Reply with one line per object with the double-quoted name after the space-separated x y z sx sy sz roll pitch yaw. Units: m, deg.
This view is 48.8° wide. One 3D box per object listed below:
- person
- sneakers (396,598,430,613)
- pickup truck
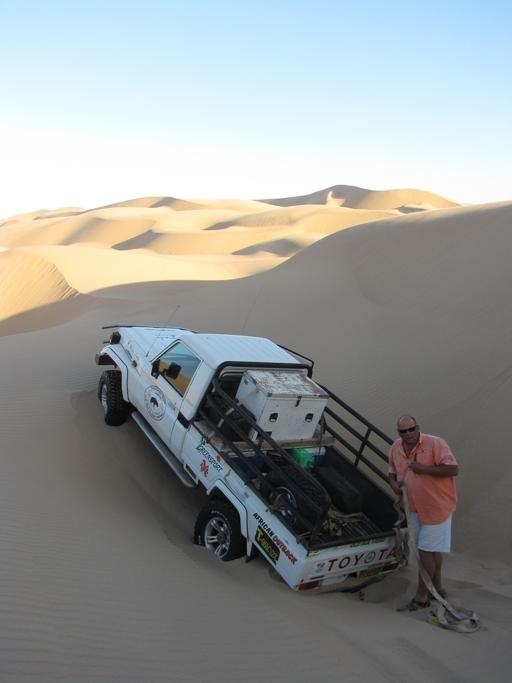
1.416 1.406 4.815 0.742 1.485 0.442 14 6 13 "person"
1.307 2.190 4.725 0.315 0.105 0.100 3 -7 -13 "sneakers"
-0.151 0.858 6.155 1.661 1.520 4.128 3 24 -40 "pickup truck"
